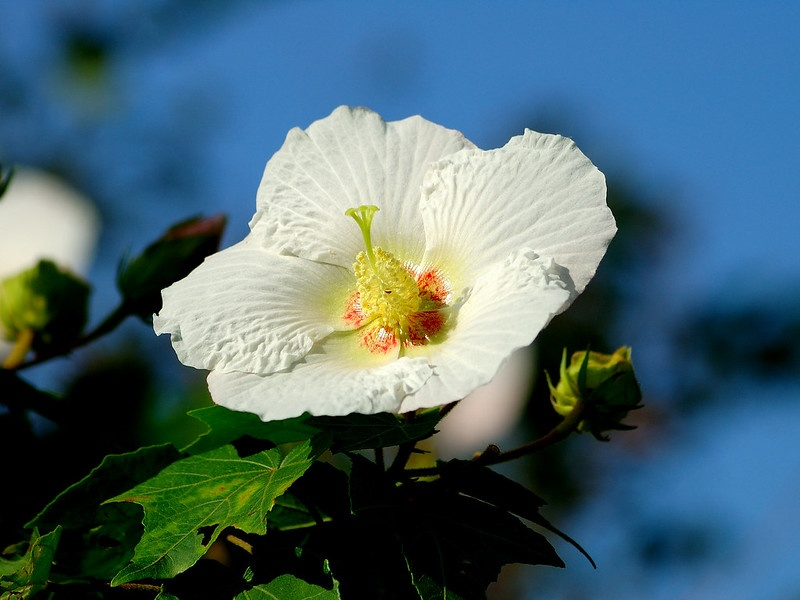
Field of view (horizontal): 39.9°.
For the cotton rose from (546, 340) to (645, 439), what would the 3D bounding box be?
[{"bbox_3d":[0.393,0.145,2.215,0.186,0.164,0.169,37,101,14],"label":"cotton rose"}]
